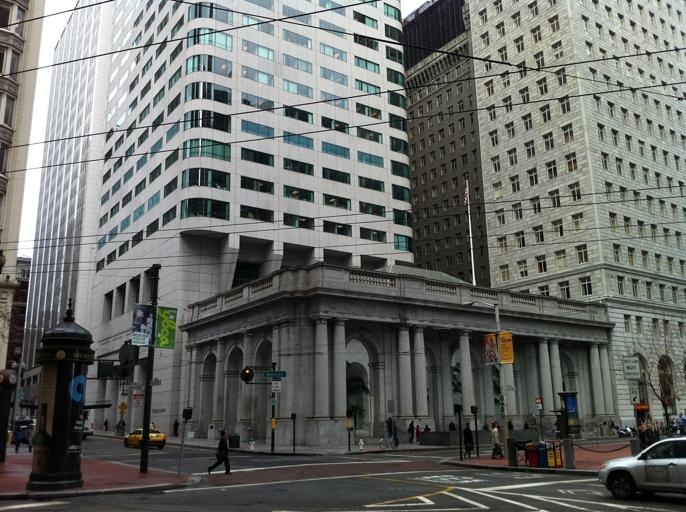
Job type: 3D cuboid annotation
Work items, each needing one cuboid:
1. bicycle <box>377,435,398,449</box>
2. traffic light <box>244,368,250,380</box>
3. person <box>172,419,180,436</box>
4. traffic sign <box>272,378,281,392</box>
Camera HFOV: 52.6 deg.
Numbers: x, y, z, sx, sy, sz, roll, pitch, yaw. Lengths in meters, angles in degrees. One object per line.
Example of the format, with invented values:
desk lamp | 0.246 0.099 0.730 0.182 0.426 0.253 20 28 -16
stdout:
bicycle | 3.354 13.938 51.834 1.302 0.737 2.196 -2 -16 3
traffic light | -7.051 8.724 51.200 0.504 0.933 0.757 -2 -18 2
person | -16.364 16.984 68.485 0.744 2.033 0.683 3 -1 -27
traffic sign | -4.821 9.299 49.875 0.628 0.975 0.434 6 -20 -20
